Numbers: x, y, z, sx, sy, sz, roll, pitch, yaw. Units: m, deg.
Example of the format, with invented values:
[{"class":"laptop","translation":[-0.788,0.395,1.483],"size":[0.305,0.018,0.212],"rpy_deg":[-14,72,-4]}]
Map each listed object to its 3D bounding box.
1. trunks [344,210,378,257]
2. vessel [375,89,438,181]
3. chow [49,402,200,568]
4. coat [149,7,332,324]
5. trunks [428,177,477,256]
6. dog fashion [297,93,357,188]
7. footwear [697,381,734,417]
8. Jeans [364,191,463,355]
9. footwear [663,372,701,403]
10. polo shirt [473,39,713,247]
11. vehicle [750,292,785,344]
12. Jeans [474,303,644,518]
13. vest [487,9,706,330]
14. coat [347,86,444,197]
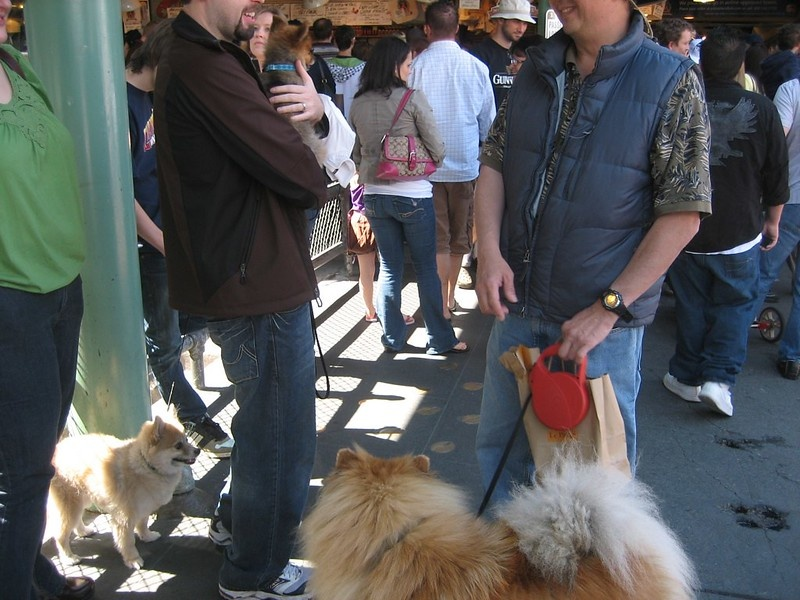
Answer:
[{"class":"trunks","translation":[-0.372,-0.660,6.330],"size":[0.287,0.399,0.195],"rpy_deg":[-7,12,-40]},{"class":"vessel","translation":[0.038,-1.281,5.316],"size":[0.501,0.673,0.320],"rpy_deg":[-19,34,-34]},{"class":"chow","translation":[-1.416,0.949,3.745],"size":[0.889,1.041,0.509],"rpy_deg":[2,6,-17]},{"class":"coat","translation":[-0.741,-0.578,3.064],"size":[0.660,1.219,0.807],"rpy_deg":[-7,14,-25]},{"class":"trunks","translation":[0.445,-0.895,6.405],"size":[0.449,1.042,0.316],"rpy_deg":[-3,38,-1]},{"class":"dog fashion","translation":[-0.308,-0.741,3.187],"size":[0.146,0.393,0.243],"rpy_deg":[-20,-8,-4]},{"class":"footwear","translation":[2.354,0.704,5.032],"size":[0.357,0.180,0.147],"rpy_deg":[37,-18,-32]},{"class":"Jeans","translation":[0.106,-0.329,5.764],"size":[0.760,1.683,0.481],"rpy_deg":[4,31,11]},{"class":"footwear","translation":[2.223,0.682,5.338],"size":[0.101,0.130,0.289],"rpy_deg":[-3,28,-27]},{"class":"polo shirt","translation":[0.849,-0.705,3.075],"size":[0.647,1.076,1.170],"rpy_deg":[-15,27,-40]},{"class":"vehicle","translation":[3.345,0.174,6.162],"size":[0.288,0.320,0.321],"rpy_deg":[20,37,41]},{"class":"Jeans","translation":[0.682,0.456,2.867],"size":[0.686,1.063,0.367],"rpy_deg":[10,37,27]},{"class":"vest","translation":[0.821,-0.646,3.063],"size":[1.123,1.204,0.624],"rpy_deg":[23,35,40]},{"class":"coat","translation":[-0.112,-1.365,5.577],"size":[0.813,0.470,0.896],"rpy_deg":[-6,36,5]}]
